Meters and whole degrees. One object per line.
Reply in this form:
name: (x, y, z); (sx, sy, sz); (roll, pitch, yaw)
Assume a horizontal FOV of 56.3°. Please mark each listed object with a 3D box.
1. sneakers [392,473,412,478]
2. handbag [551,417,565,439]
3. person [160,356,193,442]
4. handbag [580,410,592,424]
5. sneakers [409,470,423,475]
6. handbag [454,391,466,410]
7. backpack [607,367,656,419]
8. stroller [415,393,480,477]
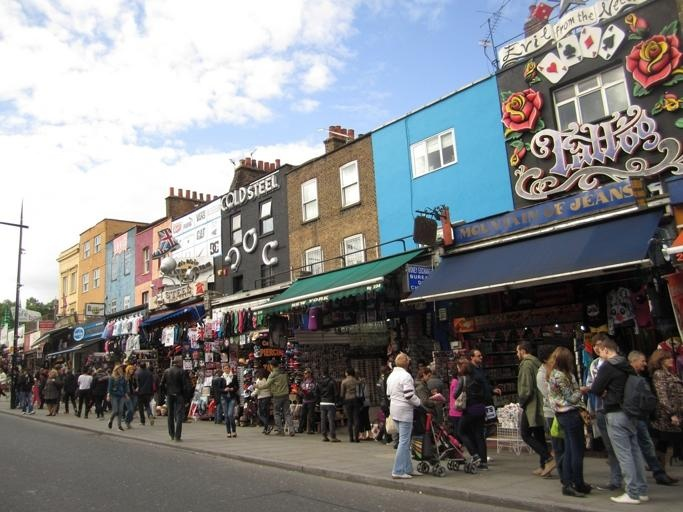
sneakers: (1.197, 4.341, 12.652); (0.413, 0.093, 0.196); (0, -17, -10)
handbag: (3.938, 3.109, 11.657); (0.189, 0.373, 0.396); (-4, -16, 3)
person: (-4.653, 4.111, 17.799); (0.715, 2.022, 0.805); (5, -18, -26)
handbag: (4.360, 2.855, 11.407); (0.157, 0.261, 0.077); (25, -21, -30)
sneakers: (1.489, 4.391, 12.978); (0.310, 0.130, 0.109); (2, -7, -15)
handbag: (2.455, 2.981, 13.414); (0.271, 0.573, 0.481); (1, -11, 5)
backpack: (5.131, 2.398, 10.999); (0.531, 0.734, 0.404); (16, -11, -33)
stroller: (2.161, 3.700, 13.491); (1.123, 1.598, 0.849); (-1, -5, -14)
